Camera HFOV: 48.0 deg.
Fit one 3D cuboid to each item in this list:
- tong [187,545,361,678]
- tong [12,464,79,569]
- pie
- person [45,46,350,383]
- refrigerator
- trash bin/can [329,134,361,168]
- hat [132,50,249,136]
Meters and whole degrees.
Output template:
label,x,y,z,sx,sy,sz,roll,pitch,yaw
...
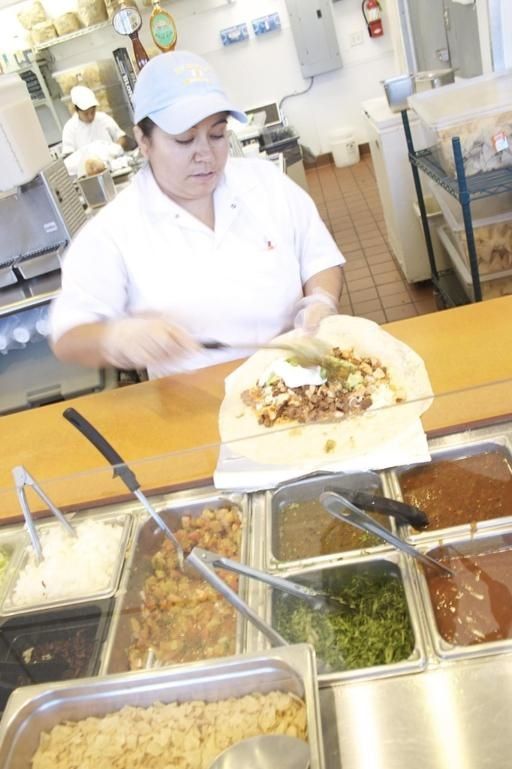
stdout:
label,x,y,z,sx,sy,sz,roll,pitch,yaw
tong,-0.003,0.277,0.774,0.240,0.086,0.088,3,40,35
tong,-0.386,0.224,1.031,0.079,0.176,0.019,-23,20,-8
pie,0.123,0.038,1.102,0.396,0.069,0.322,-13,58,-9
person,-0.189,-0.283,1.622,0.654,1.073,0.657,7,26,7
refrigerator,0.949,-1.298,3.638,0.310,0.810,0.848,-15,46,19
trash bin/can,1.051,-2.738,6.755,0.339,0.365,0.253,-14,42,14
hat,-0.179,-0.679,1.331,0.229,0.148,0.231,-27,32,-7
